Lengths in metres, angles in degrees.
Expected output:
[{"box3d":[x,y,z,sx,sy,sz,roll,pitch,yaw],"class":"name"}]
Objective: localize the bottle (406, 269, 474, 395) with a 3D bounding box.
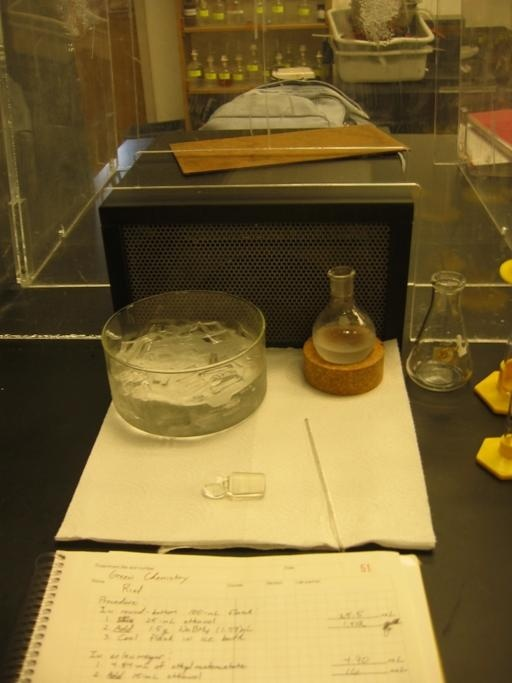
[{"box3d":[0.260,-0.019,0.790,0.091,0.145,0.103,-11,30,-14],"class":"bottle"}]
